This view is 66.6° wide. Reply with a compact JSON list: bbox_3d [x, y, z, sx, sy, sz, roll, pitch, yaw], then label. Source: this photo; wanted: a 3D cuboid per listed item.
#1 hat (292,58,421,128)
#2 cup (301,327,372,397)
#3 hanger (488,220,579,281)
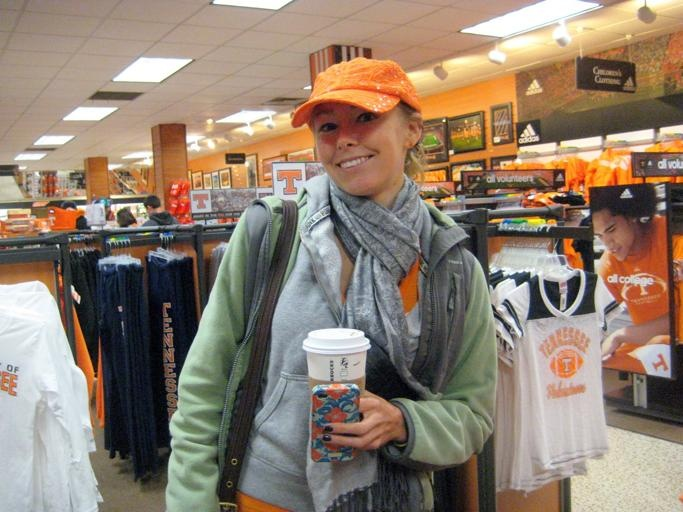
[{"bbox_3d":[0.056,-0.465,1.560,0.244,0.149,0.326,-7,-8,36],"label":"hat"},{"bbox_3d":[-0.024,0.275,1.422,0.168,0.123,0.162,-1,9,0],"label":"cup"},{"bbox_3d":[0.974,-0.058,2.749,0.384,0.267,0.471,-3,5,16],"label":"hanger"}]
